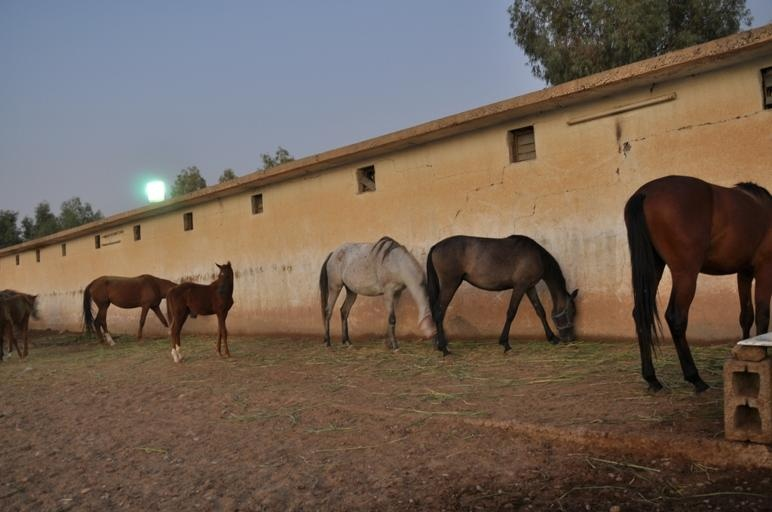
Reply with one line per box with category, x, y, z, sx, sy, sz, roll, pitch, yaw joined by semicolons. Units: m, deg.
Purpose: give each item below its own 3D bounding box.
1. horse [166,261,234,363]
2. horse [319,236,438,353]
horse;-3.015;0.951;11.526;1.028;1.486;0.521;-4;-1;-15
horse;-0.196;0.622;11.856;0.889;1.817;2.703;-4;-1;-39
